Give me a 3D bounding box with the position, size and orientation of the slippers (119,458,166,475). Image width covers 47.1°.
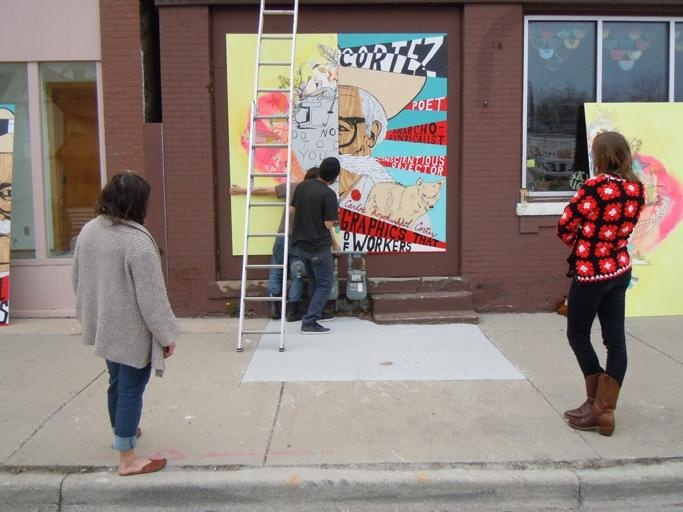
[{"bbox_3d":[-1.682,1.819,6.758,0.307,0.065,0.143,1,0,-14],"label":"slippers"}]

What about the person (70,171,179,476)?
[{"bbox_3d":[-1.812,0.586,6.687,0.799,2.553,0.514,-4,11,-18],"label":"person"}]

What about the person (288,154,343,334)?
[{"bbox_3d":[-0.300,-0.137,9.560,0.592,2.103,0.441,-1,11,-4],"label":"person"}]

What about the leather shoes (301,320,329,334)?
[{"bbox_3d":[-0.327,0.877,9.654,0.391,0.210,0.126,-1,2,-4],"label":"leather shoes"}]

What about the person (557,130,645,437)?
[{"bbox_3d":[2.404,0.249,7.192,0.738,2.734,0.587,-3,11,-11],"label":"person"}]
